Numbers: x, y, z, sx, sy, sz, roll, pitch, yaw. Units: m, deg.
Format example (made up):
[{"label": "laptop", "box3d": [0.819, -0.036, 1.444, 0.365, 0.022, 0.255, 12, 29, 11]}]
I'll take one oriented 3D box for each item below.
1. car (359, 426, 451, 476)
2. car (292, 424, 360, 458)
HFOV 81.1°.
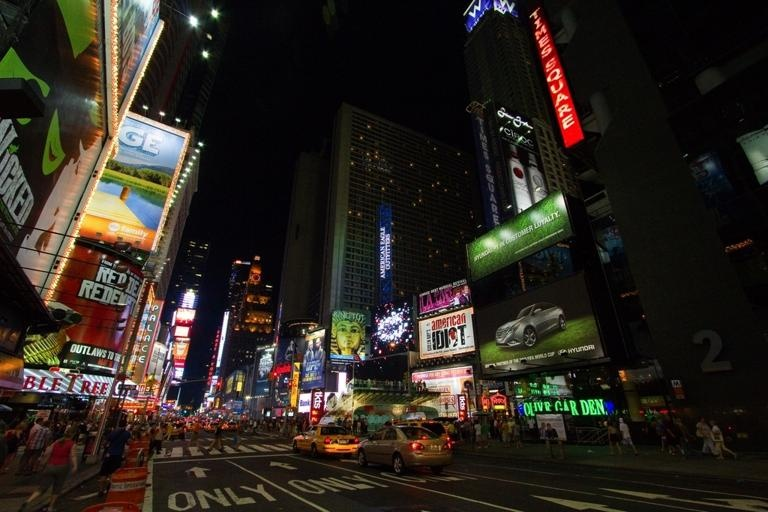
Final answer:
[{"label": "car", "box3d": [1.000, 10.809, 25.158, 4.883, 2.444, 1.533, -18, -31, 31]}, {"label": "car", "box3d": [-4.065, 12.575, 30.728, 4.395, 2.030, 2.216, -23, -33, 37]}]
